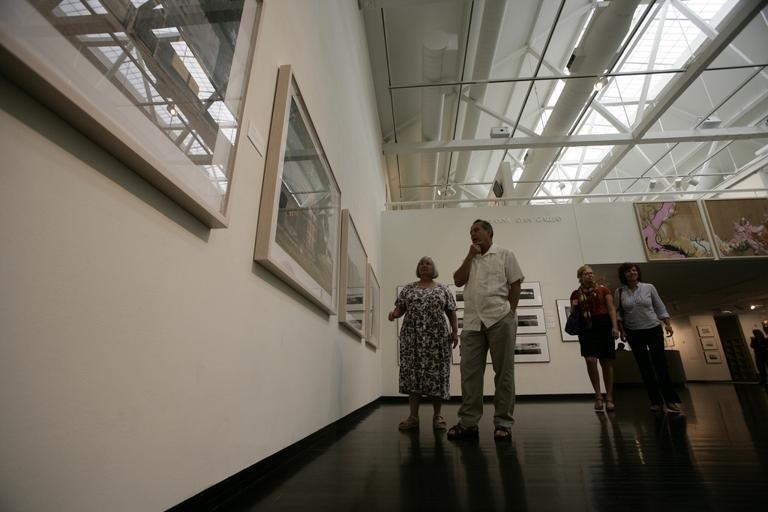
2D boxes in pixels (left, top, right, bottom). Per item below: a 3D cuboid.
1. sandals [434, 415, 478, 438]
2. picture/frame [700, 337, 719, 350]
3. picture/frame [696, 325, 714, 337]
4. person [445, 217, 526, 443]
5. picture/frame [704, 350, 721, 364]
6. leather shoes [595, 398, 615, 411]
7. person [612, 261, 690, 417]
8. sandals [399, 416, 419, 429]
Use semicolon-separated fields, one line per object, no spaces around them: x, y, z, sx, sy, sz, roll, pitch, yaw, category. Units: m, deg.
0.597;1.358;3.359;0.146;0.111;0.410;-15;-32;31;sandals
10.556;2.830;13.816;0.408;0.427;0.042;1;-26;18;picture/frame
10.534;2.451;13.985;0.401;0.365;0.040;-1;-27;17;picture/frame
0.789;0.523;3.388;0.571;1.693;0.306;-14;-24;37;person
10.539;3.232;13.677;0.366;0.371;0.193;-4;-18;15;picture/frame
2.405;1.639;4.710;0.132;0.082;0.340;-6;-19;12;leather shoes
2.866;0.834;4.675;0.502;1.598;0.418;-18;-25;36;person
0.215;1.442;3.693;0.080;0.094;0.214;-14;-27;30;sandals
